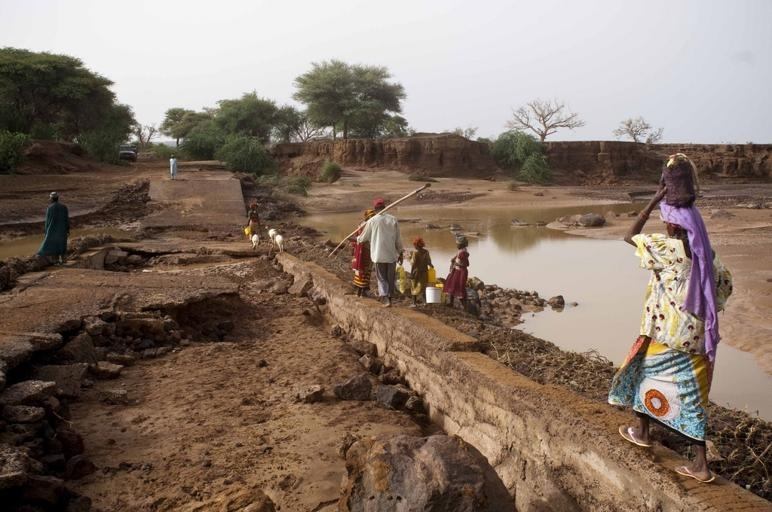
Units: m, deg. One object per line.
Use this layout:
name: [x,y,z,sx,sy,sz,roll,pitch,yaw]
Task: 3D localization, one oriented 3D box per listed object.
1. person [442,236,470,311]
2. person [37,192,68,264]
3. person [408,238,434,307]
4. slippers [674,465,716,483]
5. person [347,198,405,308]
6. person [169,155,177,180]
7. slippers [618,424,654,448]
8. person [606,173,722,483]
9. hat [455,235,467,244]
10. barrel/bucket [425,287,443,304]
person: [1.290,0.274,9.097,0.399,1.288,0.557,-1,9,-18]
person: [-6.474,-0.549,9.993,0.529,1.313,1.526,-4,10,-32]
person: [0.609,0.252,8.740,0.347,1.093,0.434,2,9,1]
slippers: [2.510,1.774,4.194,0.120,0.107,0.270,11,1,-44]
person: [-0.097,-0.040,8.431,0.746,1.762,1.110,1,8,-5]
person: [-9.328,-3.909,22.560,0.251,1.014,1.515,-2,9,-23]
slippers: [2.151,1.571,4.455,0.126,0.071,0.230,-6,23,-27]
person: [2.466,0.554,4.436,0.822,2.426,0.777,7,10,32]
hat: [1.283,-0.285,8.831,0.192,0.134,0.190,0,6,14]
barrel/bucket: [0.807,0.670,8.783,0.283,0.237,0.277,1,3,0]
